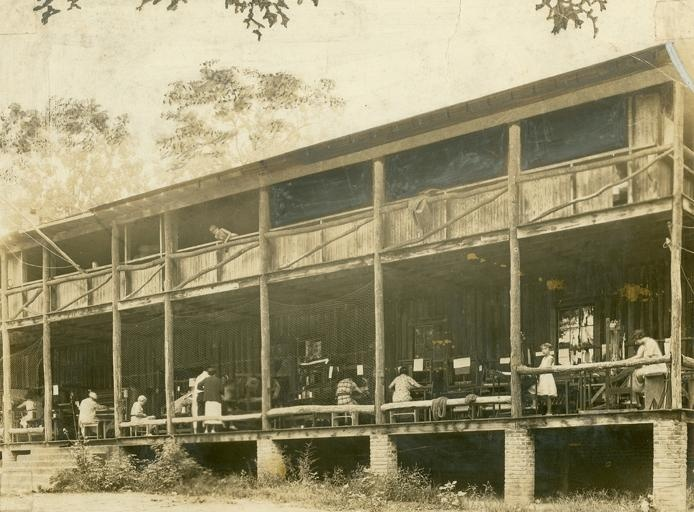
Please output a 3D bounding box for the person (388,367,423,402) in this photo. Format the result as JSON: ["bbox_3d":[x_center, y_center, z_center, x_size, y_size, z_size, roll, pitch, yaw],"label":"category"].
[{"bbox_3d":[1.688,3.693,50.765,0.868,1.342,0.529,-9,-23,27],"label":"person"}]

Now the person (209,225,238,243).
[{"bbox_3d":[-3.668,-0.658,53.549,0.816,0.301,0.574,20,-18,-40],"label":"person"}]

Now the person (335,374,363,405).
[{"bbox_3d":[0.017,3.964,51.439,0.806,0.631,0.775,-8,-26,19],"label":"person"}]
